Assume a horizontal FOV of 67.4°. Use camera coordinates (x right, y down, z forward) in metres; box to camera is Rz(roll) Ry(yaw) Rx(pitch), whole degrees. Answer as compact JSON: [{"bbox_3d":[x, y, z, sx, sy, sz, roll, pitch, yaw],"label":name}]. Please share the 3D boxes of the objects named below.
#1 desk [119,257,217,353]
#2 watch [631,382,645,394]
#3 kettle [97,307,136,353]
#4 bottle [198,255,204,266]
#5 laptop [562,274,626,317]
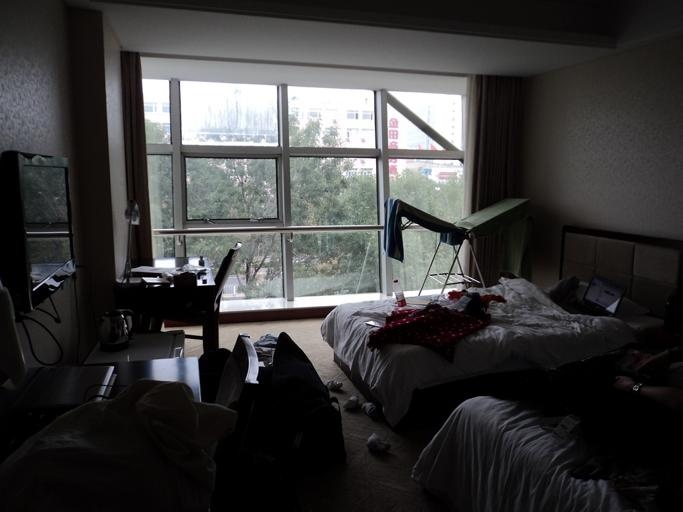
[{"bbox_3d":[-1.297,0.357,4.072,0.804,0.418,0.591,1,9,0],"label":"desk"},{"bbox_3d":[1.441,0.642,2.485,0.036,0.058,0.061,8,52,46],"label":"watch"},{"bbox_3d":[-1.431,0.466,3.272,0.221,0.240,0.171,-4,9,-35],"label":"kettle"},{"bbox_3d":[-1.351,0.045,4.907,0.045,0.121,0.045,3,21,-1],"label":"bottle"},{"bbox_3d":[2.122,0.328,4.371,0.393,0.314,0.512,9,7,0],"label":"laptop"}]
